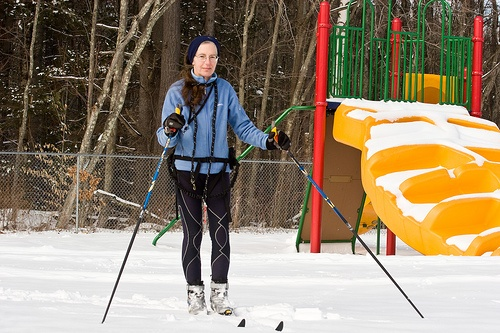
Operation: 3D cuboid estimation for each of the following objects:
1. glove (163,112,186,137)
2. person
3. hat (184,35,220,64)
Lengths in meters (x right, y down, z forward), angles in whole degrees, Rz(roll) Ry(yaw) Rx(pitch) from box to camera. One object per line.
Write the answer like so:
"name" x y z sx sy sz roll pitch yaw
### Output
"glove" -0.962 -0.538 7.627 0.274 0.287 0.188 0 4 -10
"person" -0.515 0.086 7.790 1.239 3.568 0.545 0 3 -1
"hat" -0.668 -1.569 7.916 0.325 0.411 0.227 5 9 -11
